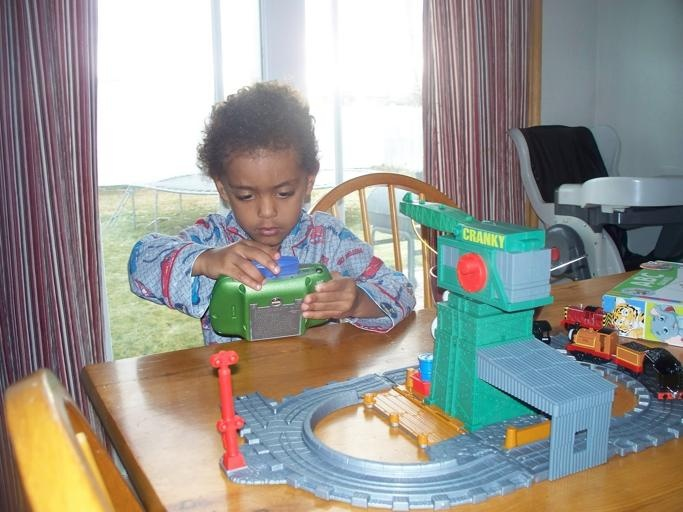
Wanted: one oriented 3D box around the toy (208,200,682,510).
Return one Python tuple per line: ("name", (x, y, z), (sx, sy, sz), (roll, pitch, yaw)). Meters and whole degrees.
("toy", (0.141, 0.067, 0.655), (0.528, 0.200, 0.328), (-7, 18, -26))
